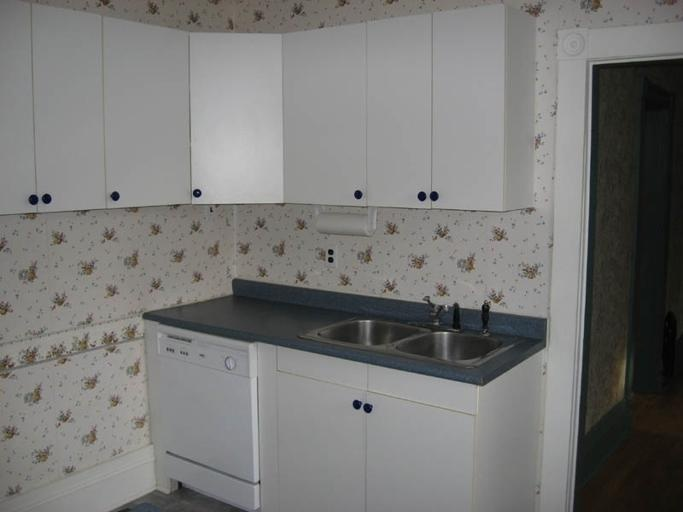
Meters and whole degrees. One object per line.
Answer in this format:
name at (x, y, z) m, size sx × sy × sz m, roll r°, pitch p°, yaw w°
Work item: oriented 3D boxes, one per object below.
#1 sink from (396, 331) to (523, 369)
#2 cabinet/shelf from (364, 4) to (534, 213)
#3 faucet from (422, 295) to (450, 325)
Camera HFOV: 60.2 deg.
sink at (0.606, 0.460, 2.993) m, size 0.311 × 0.140 × 0.274 m, roll 7°, pitch 13°, yaw 44°
cabinet/shelf at (0.663, -0.689, 2.811) m, size 0.592 × 0.935 × 0.344 m, roll -1°, pitch 11°, yaw 3°
faucet at (0.521, 0.298, 3.208) m, size 0.119 × 0.138 × 0.045 m, roll -9°, pitch -17°, yaw 35°
